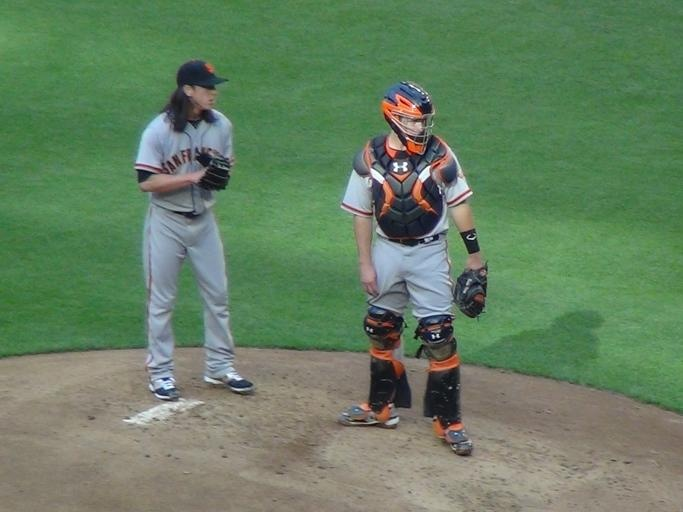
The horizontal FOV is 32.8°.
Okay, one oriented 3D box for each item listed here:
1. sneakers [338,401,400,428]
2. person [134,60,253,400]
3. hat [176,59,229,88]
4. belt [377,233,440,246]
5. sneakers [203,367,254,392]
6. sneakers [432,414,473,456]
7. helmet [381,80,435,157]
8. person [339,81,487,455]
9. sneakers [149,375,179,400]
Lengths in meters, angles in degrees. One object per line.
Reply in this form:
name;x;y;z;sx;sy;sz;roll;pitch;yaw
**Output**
sneakers;0.242;1.394;10.328;0.466;0.178;0.218;6;-3;-6
person;-1.353;-0.234;10.355;0.948;2.964;0.623;-1;11;-10
hat;-1.218;-1.593;10.239;0.411;0.180;0.248;-2;17;9
belt;0.628;-0.135;10.034;0.451;0.100;0.086;1;10;1
sneakers;-1.000;1.117;10.602;0.478;0.162;0.176;11;18;21
sneakers;0.975;1.543;10.048;0.182;0.200;0.471;-18;29;-27
helmet;0.593;-1.233;10.153;0.489;0.473;0.555;-10;32;-29
person;0.615;0.076;10.034;1.252;3.083;0.647;2;11;8
sneakers;-1.586;1.166;10.389;0.197;0.190;0.304;-4;11;-26
